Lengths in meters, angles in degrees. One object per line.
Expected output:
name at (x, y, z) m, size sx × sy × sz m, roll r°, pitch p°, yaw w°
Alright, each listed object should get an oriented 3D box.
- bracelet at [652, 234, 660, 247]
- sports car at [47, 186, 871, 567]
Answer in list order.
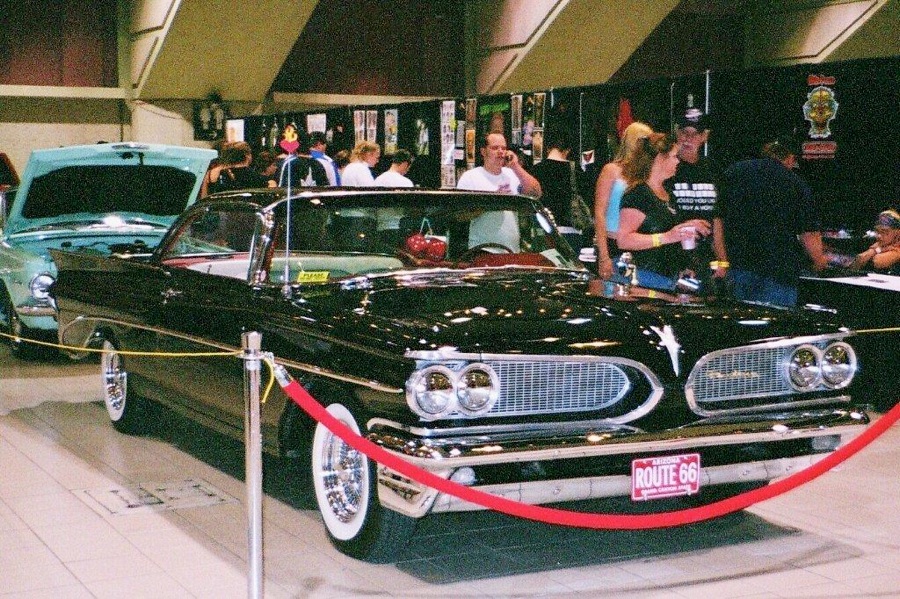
bracelet at (1.684, -0.480, 6.580) m, size 0.092 × 0.084 × 0.024 m, roll -10°, pitch 24°, yaw -40°
sports car at (-0.191, 0.088, 5.177) m, size 4.807 × 1.575 × 2.408 m, roll 7°, pitch 11°, yaw 38°
